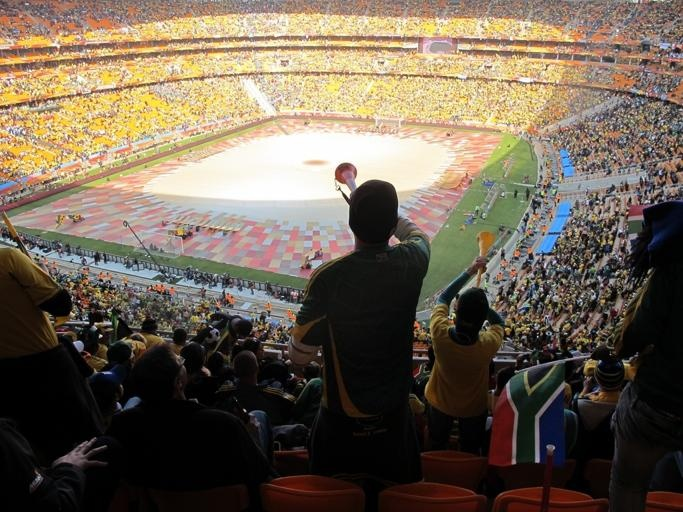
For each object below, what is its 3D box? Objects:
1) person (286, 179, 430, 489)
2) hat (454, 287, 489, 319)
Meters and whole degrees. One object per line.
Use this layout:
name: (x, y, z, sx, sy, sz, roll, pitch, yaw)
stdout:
person: (0.163, 0.603, 4.077, 1.051, 2.007, 0.354, 2, 1, -4)
hat: (1.231, 0.441, 4.936, 0.312, 0.283, 0.256, 2, 0, 12)
